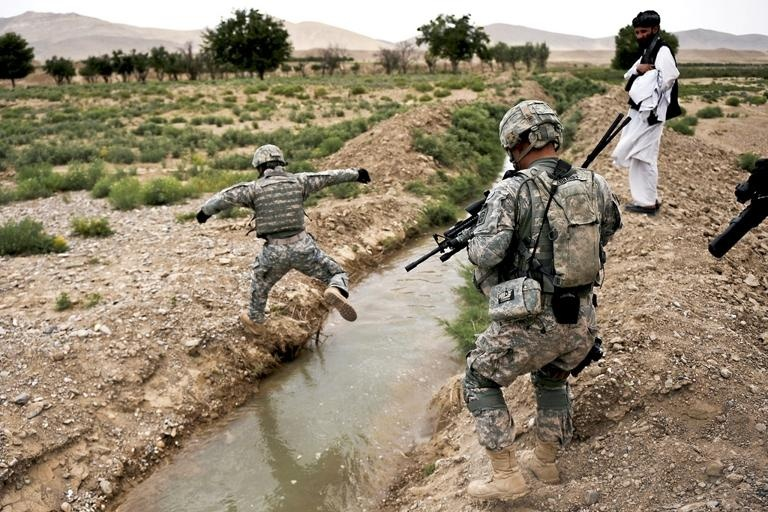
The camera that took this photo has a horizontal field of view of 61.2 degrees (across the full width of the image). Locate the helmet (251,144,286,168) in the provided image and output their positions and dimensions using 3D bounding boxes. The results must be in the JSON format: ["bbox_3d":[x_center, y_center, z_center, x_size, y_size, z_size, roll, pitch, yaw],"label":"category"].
[{"bbox_3d":[-1.873,-1.578,10.201,0.401,0.344,0.423,-7,12,-35],"label":"helmet"}]

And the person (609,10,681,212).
[{"bbox_3d":[4.396,-2.316,10.886,0.960,3.397,0.968,6,27,10],"label":"person"}]

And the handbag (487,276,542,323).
[{"bbox_3d":[1.551,0.523,7.568,0.668,0.473,0.369,-14,-23,36],"label":"handbag"}]

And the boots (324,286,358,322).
[{"bbox_3d":[-0.682,0.754,10.084,0.441,0.617,0.319,0,26,-1],"label":"boots"}]

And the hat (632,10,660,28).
[{"bbox_3d":[4.230,-3.814,10.462,0.377,0.279,0.251,10,27,18],"label":"hat"}]

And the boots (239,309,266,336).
[{"bbox_3d":[-2.158,1.126,10.618,0.231,0.513,0.266,-32,-9,18],"label":"boots"}]
